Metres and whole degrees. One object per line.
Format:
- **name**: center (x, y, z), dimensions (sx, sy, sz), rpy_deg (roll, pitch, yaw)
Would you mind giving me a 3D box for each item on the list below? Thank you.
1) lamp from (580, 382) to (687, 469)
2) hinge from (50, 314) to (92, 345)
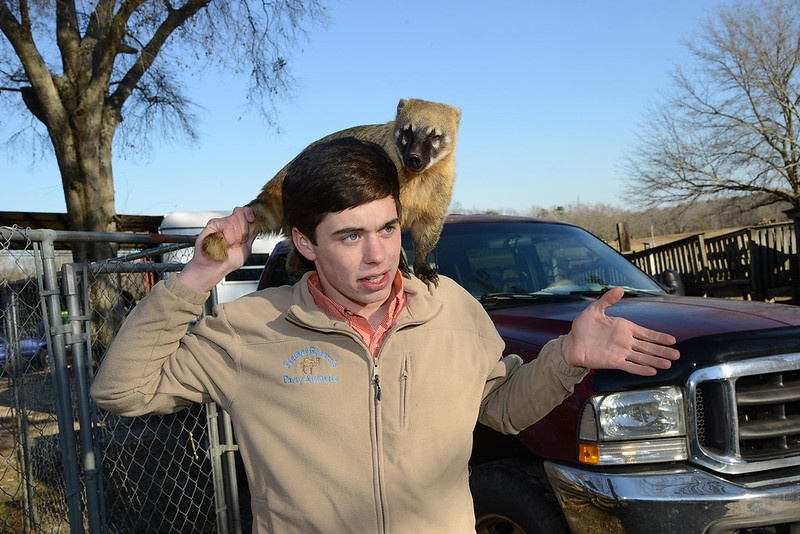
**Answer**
- **lamp**: center (1.565, 0.997, 4.230), dimensions (0.598, 0.491, 0.462), rpy_deg (-8, -1, 16)
- **hinge**: center (-2.486, 0.449, 4.887), dimensions (0.218, 0.259, 0.085), rpy_deg (0, -15, -31)
